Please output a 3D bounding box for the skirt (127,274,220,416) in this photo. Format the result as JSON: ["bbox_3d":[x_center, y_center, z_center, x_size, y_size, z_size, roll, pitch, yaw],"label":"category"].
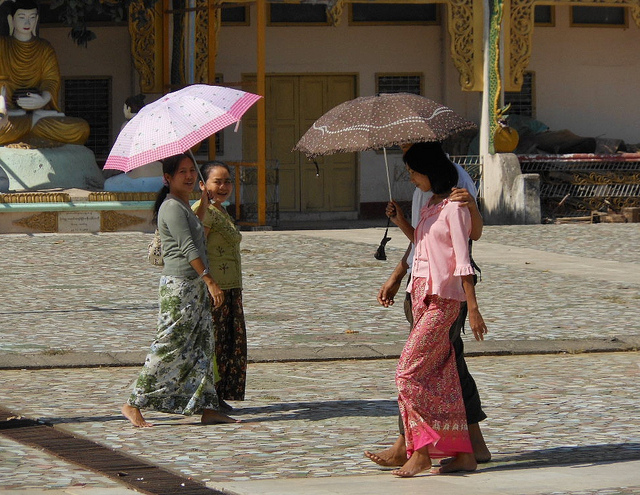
[{"bbox_3d":[-1.085,0.660,10.632,0.646,1.107,0.384,4,-10,-26],"label":"skirt"}]

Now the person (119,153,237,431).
[{"bbox_3d":[-1.067,0.346,10.563,0.811,2.028,0.560,-3,13,-10],"label":"person"}]

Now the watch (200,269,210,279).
[{"bbox_3d":[-0.835,0.200,10.410,0.061,0.017,0.062,-40,6,9],"label":"watch"}]

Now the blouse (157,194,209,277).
[{"bbox_3d":[-1.014,-0.071,10.500,0.346,0.589,0.301,-2,12,-7],"label":"blouse"}]

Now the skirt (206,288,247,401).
[{"bbox_3d":[-0.673,0.652,11.066,0.344,1.008,0.309,0,-19,-12],"label":"skirt"}]

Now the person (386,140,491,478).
[{"bbox_3d":[0.833,0.412,9.715,0.603,2.211,0.798,0,12,3],"label":"person"}]
